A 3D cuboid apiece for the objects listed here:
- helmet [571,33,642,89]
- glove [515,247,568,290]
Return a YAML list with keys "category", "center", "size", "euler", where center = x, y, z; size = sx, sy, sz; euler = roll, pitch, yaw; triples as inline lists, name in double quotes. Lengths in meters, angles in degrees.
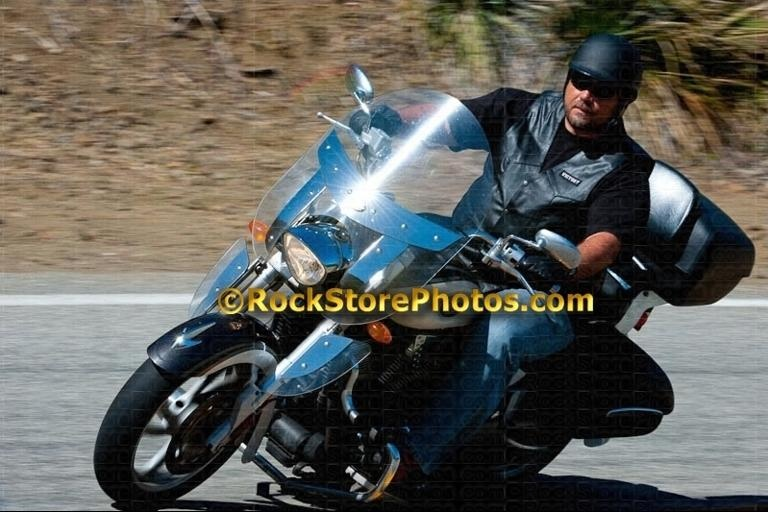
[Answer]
- category: "helmet"
  center: [1.168, -1.026, 5.602]
  size: [0.388, 0.229, 0.271]
  euler: [-19, 40, -42]
- category: "glove"
  center: [0.807, 0.054, 5.527]
  size: [0.275, 0.120, 0.403]
  euler: [8, 13, 0]
